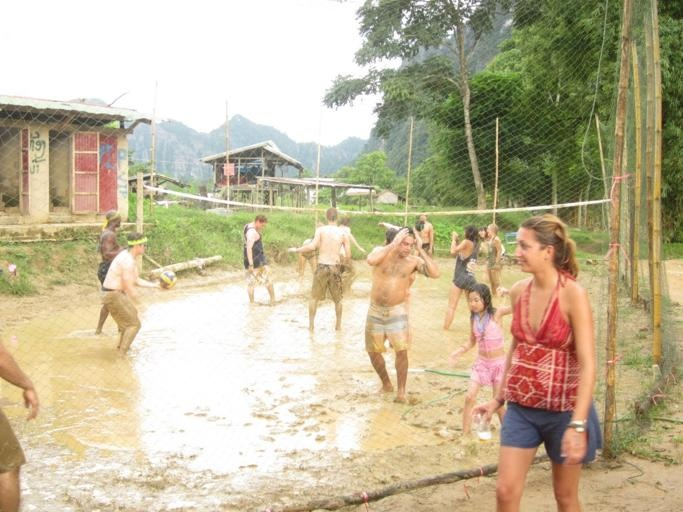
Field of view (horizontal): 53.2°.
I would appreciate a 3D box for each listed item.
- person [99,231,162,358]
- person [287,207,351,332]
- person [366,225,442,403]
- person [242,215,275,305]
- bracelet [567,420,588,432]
[{"bbox_3d":[-3.055,0.547,9.734,0.626,1.658,0.871,-7,13,-37],"label":"person"},{"bbox_3d":[-0.259,0.254,11.129,0.708,1.985,0.927,4,11,16],"label":"person"},{"bbox_3d":[0.675,0.681,8.292,0.764,2.027,0.426,1,10,1],"label":"person"},{"bbox_3d":[-1.585,0.080,12.956,0.579,1.780,0.963,0,11,-1],"label":"person"},{"bbox_3d":[1.847,1.316,5.338,0.148,0.091,0.043,2,11,4],"label":"bracelet"}]
